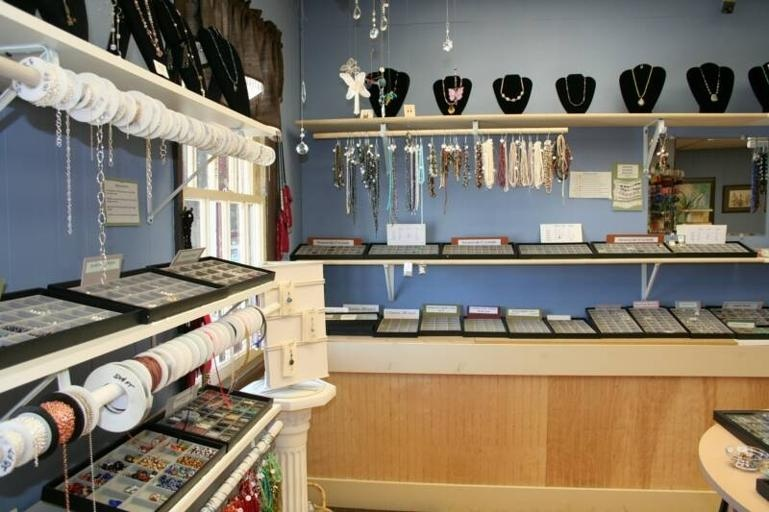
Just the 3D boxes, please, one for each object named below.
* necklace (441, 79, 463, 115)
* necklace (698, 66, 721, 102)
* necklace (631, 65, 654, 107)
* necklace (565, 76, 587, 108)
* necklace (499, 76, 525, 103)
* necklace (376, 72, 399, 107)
[{"bbox_3d":[0.483,-1.112,3.678,0.119,0.268,0.054,-14,51,-5],"label":"necklace"},{"bbox_3d":[2.192,-1.175,3.641,0.134,0.252,0.066,2,7,29],"label":"necklace"},{"bbox_3d":[1.743,-1.149,3.649,0.167,0.317,0.081,2,6,23],"label":"necklace"},{"bbox_3d":[1.304,-1.140,3.675,0.132,0.221,0.035,1,6,15],"label":"necklace"},{"bbox_3d":[0.873,-1.157,3.698,0.166,0.183,0.064,0,6,10],"label":"necklace"},{"bbox_3d":[0.001,-1.152,3.657,0.146,0.271,0.130,3,18,11],"label":"necklace"}]
